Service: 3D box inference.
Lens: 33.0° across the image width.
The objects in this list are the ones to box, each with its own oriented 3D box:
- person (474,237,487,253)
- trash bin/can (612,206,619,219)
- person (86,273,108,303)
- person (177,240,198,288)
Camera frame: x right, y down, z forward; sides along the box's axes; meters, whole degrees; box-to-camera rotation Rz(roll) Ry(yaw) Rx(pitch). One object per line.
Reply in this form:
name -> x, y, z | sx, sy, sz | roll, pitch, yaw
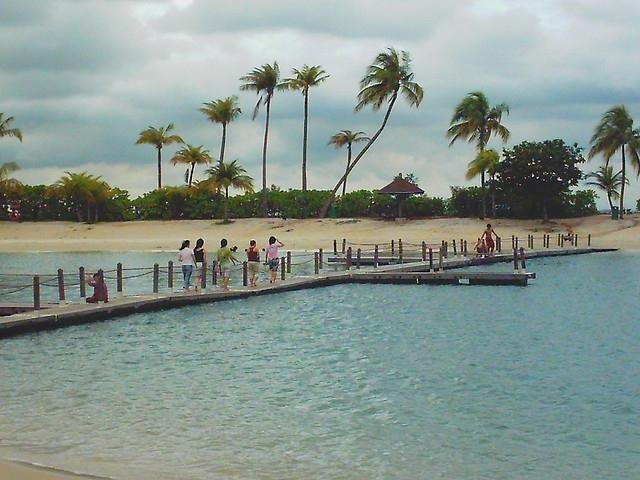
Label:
person -> 7.719, 0.287, 52.502 | 0.541, 0.732, 0.411 | 4, -3, 16
trash bin/can -> 21.132, -1.878, 77.762 | 0.550, 0.804, 1.571 | 0, 0, 16
person -> -7.712, 1.603, 37.428 | 0.700, 1.078, 1.154 | 0, 0, -11
person -> -4.834, 0.933, 39.521 | 0.565, 1.800, 1.090 | 0, 0, -7
